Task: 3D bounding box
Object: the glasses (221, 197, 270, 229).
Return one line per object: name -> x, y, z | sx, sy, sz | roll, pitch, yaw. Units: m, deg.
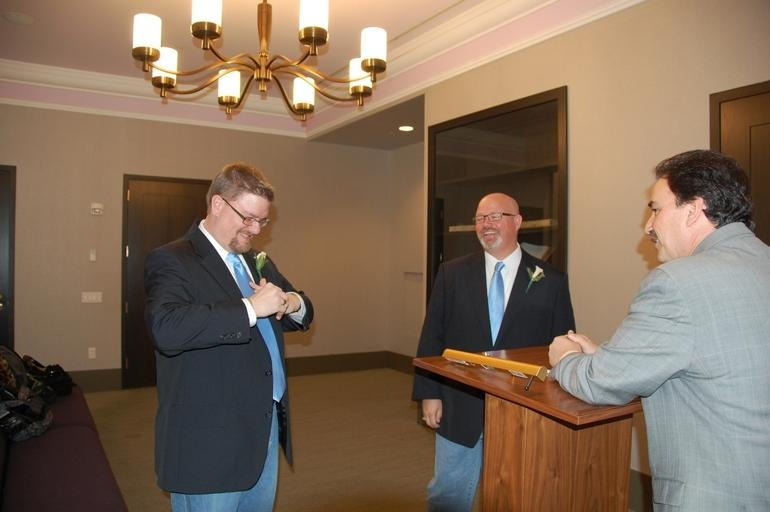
glasses -> -0.743, -0.213, 2.825 | 0.168, 0.046, 0.163 | 44, 11, 13
